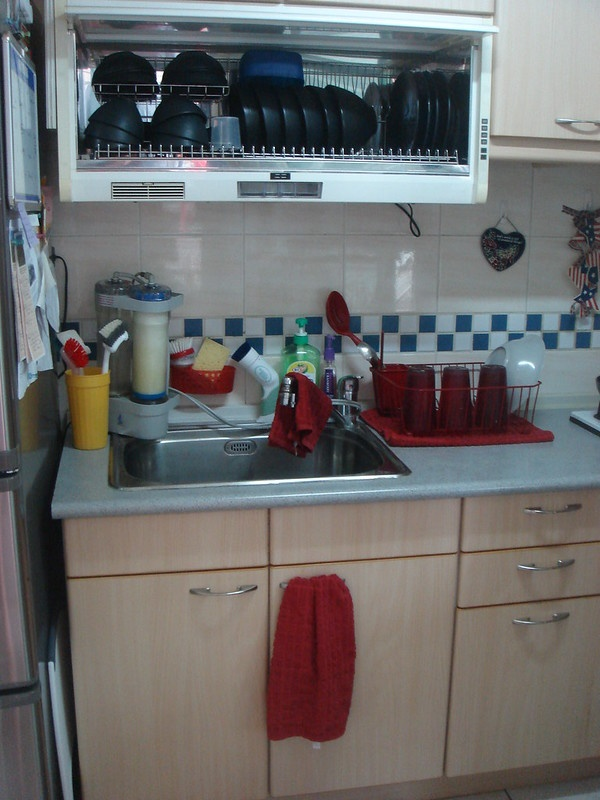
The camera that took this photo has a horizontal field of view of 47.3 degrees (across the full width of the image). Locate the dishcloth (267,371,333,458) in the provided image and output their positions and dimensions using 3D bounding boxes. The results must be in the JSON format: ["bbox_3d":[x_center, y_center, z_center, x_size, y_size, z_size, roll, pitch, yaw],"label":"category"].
[{"bbox_3d":[-0.004,0.041,1.542,0.100,0.196,0.156,12,-4,40],"label":"dishcloth"}]

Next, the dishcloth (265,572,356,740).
[{"bbox_3d":[0.020,0.518,1.306,0.168,0.376,0.065,-1,12,-4],"label":"dishcloth"}]
